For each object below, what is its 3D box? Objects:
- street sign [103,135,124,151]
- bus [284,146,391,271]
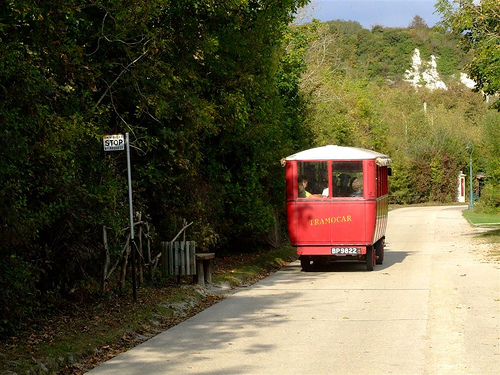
[{"bbox_3d":[-2.918,-0.966,13.440,0.295,0.244,0.040,0,-8,-32],"label":"street sign"},{"bbox_3d":[2.976,0.723,21.021,2.108,3.055,4.351,-2,-4,12],"label":"bus"}]
